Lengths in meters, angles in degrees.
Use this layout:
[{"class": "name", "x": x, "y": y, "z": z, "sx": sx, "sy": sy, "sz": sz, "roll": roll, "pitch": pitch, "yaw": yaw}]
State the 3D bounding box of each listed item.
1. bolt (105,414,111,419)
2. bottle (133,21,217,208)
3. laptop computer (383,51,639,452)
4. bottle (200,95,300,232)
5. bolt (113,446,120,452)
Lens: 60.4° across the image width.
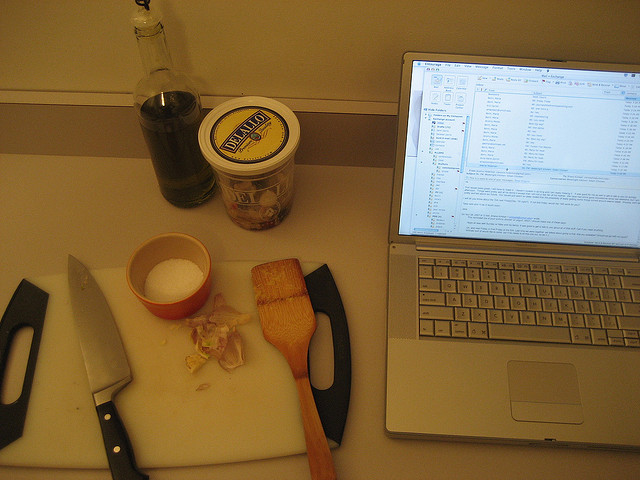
[{"class": "bolt", "x": -0.306, "y": 0.255, "z": 0.793, "sx": 0.008, "sy": 0.001, "sz": 0.006, "roll": -6, "pitch": 55, "yaw": -6}, {"class": "bottle", "x": -0.247, "y": -0.197, "z": 0.920, "sx": 0.102, "sy": 0.289, "sz": 0.129, "roll": -17, "pitch": 54, "yaw": -14}, {"class": "laptop computer", "x": 0.317, "y": 0.010, "z": 0.818, "sx": 0.413, "sy": 0.310, "sz": 0.479, "roll": 3, "pitch": 53, "yaw": 1}, {"class": "bottle", "x": -0.101, "y": -0.146, "z": 0.984, "sx": 0.176, "sy": 0.198, "sz": 0.197, "roll": -2, "pitch": 61, "yaw": -2}, {"class": "bolt", "x": -0.286, "y": 0.295, "z": 0.775, "sx": 0.007, "sy": 0.002, "sz": 0.007, "roll": -6, "pitch": 54, "yaw": -6}]
